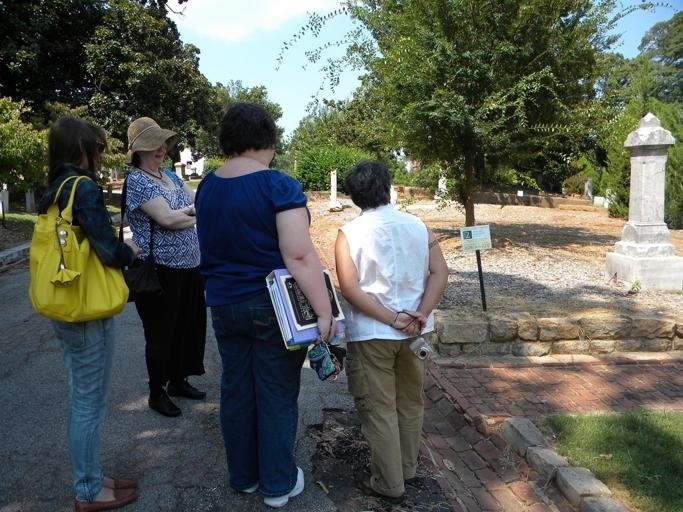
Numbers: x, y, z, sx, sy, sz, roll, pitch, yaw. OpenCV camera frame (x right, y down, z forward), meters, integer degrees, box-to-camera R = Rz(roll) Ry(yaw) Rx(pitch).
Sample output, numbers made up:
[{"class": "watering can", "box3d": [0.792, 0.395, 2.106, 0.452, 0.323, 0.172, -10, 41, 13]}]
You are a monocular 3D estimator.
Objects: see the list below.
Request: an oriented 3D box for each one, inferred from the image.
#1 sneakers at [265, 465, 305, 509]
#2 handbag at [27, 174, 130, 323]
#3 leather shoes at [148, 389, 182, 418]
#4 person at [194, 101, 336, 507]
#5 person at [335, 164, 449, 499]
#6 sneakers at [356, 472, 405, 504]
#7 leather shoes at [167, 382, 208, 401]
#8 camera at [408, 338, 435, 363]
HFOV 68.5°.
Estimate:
[{"class": "sneakers", "box3d": [-0.360, 1.582, 3.417, 0.122, 0.207, 0.301, 6, 23, 20]}, {"class": "handbag", "box3d": [-1.653, -0.039, 3.130, 0.537, 0.884, 0.370, -6, 17, -33]}, {"class": "leather shoes", "box3d": [-1.495, 1.252, 4.283, 0.343, 0.153, 0.140, 12, 9, 28]}, {"class": "person", "box3d": [-0.521, 0.317, 3.316, 0.903, 2.545, 0.560, 15, 18, 39]}, {"class": "person", "box3d": [0.306, 0.510, 3.574, 0.797, 2.282, 0.745, 6, 14, 12]}, {"class": "sneakers", "box3d": [0.269, 1.629, 3.545, 0.293, 0.136, 0.128, 26, 20, 32]}, {"class": "leather shoes", "box3d": [-1.390, 1.194, 4.556, 0.389, 0.177, 0.146, 8, 2, -8]}, {"class": "camera", "box3d": [0.587, 0.651, 3.536, 0.134, 0.188, 0.209, 14, 17, 36]}]
